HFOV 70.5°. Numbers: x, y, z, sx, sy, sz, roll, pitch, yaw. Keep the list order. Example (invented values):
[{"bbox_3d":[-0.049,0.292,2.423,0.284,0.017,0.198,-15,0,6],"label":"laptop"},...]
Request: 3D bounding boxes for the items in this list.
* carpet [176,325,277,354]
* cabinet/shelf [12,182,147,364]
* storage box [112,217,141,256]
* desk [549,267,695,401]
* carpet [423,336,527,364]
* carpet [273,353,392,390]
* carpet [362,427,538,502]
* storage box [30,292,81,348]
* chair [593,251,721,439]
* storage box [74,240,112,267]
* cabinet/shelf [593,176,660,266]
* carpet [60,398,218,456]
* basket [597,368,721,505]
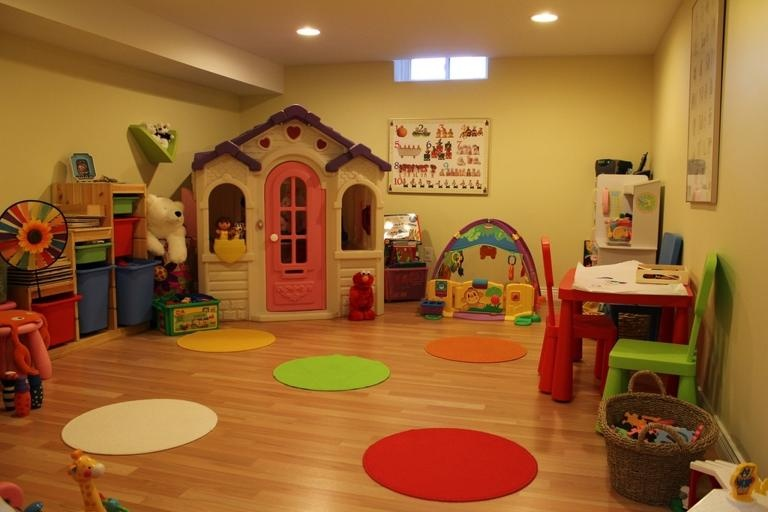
[{"bbox_3d":[-1.390,0.735,4.782,0.776,0.034,0.702,-8,16,-33],"label":"carpet"},{"bbox_3d":[-2.515,0.155,4.414,0.435,1.326,1.333,3,7,12],"label":"cabinet/shelf"},{"bbox_3d":[-2.342,-0.179,5.012,0.279,0.360,0.377,3,5,6],"label":"storage box"},{"bbox_3d":[1.604,0.482,3.740,0.923,0.704,0.933,3,6,20],"label":"desk"},{"bbox_3d":[0.775,0.783,4.638,0.846,0.034,0.642,1,13,2],"label":"carpet"},{"bbox_3d":[-0.407,0.873,4.130,0.885,0.029,0.679,0,13,-2],"label":"carpet"},{"bbox_3d":[0.360,1.142,3.044,0.961,0.038,0.661,-3,14,-12],"label":"carpet"},{"bbox_3d":[-2.577,0.491,4.226,0.260,0.383,0.393,8,13,30],"label":"storage box"},{"bbox_3d":[1.736,0.510,3.808,0.868,1.428,0.873,4,4,25],"label":"chair"},{"bbox_3d":[-2.471,-0.024,4.579,0.188,0.141,0.314,-3,0,24],"label":"storage box"},{"bbox_3d":[2.116,-0.280,4.715,0.399,0.780,0.788,0,6,5],"label":"cabinet/shelf"},{"bbox_3d":[-1.509,1.037,3.369,0.935,0.021,0.627,0,13,-2],"label":"carpet"},{"bbox_3d":[1.376,0.963,2.946,0.660,0.510,0.639,-2,14,16],"label":"basket"}]
